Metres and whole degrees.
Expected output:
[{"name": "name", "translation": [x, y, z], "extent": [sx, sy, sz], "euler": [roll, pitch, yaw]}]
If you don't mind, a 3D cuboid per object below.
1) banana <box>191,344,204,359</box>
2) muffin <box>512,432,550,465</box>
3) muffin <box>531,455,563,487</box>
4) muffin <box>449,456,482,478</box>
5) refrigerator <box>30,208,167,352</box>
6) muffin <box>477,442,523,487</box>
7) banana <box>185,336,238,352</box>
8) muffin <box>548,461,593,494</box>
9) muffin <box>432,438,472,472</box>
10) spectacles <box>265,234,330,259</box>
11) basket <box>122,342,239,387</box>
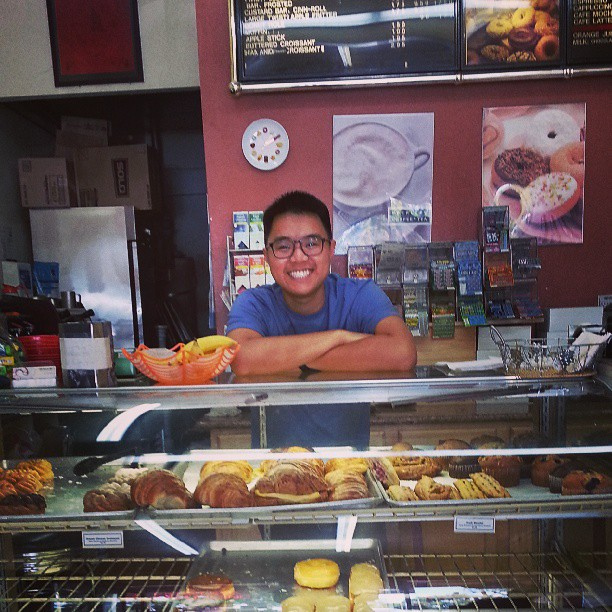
[{"name": "banana", "translation": [-0.280, 0.120, 1.769], "extent": [0.019, 0.032, 0.006], "euler": [-5, 3, 39]}, {"name": "muffin", "translation": [0.532, 0.332, 1.634], "extent": [0.075, 0.088, 0.063], "euler": [0, 1, -2]}, {"name": "muffin", "translation": [0.584, 0.384, 1.661], "extent": [0.063, 0.075, 0.069], "euler": [2, 2, 23]}, {"name": "muffin", "translation": [0.384, 0.388, 1.656], "extent": [0.051, 0.059, 0.056], "euler": [1, 3, 20]}, {"name": "refrigerator", "translation": [-1.416, -0.216, 4.849], "extent": [0.613, 0.980, 0.703], "euler": [-15, 20, -42]}, {"name": "muffin", "translation": [0.478, 0.372, 1.695], "extent": [0.093, 0.107, 0.109], "euler": [1, 1, 38]}, {"name": "banana", "translation": [-0.262, 0.101, 1.856], "extent": [0.135, 0.028, 0.172], "euler": [-8, 5, -10]}, {"name": "muffin", "translation": [0.630, 0.397, 1.654], "extent": [0.074, 0.057, 0.079], "euler": [-2, -1, 31]}, {"name": "muffin", "translation": [0.350, 0.343, 1.661], "extent": [0.070, 0.053, 0.075], "euler": [-3, 7, -24]}, {"name": "spectacles", "translation": [-0.028, -0.191, 2.217], "extent": [0.185, 0.079, 0.047], "euler": [-7, 4, -2]}, {"name": "basket", "translation": [-0.334, 0.154, 1.783], "extent": [0.305, 0.087, 0.075], "euler": [-7, 4, 2]}]
